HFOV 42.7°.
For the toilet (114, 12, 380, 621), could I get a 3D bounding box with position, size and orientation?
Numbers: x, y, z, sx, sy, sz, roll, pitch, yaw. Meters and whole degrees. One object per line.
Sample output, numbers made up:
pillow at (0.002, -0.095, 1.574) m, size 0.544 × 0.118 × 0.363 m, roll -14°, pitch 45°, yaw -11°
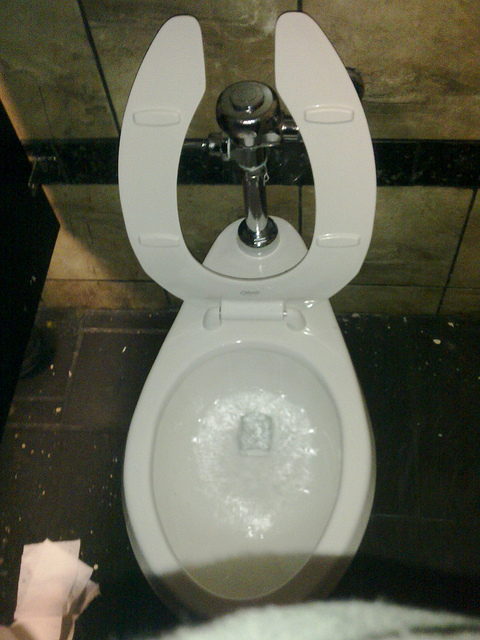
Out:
toilet at (0.011, 0.053, 0.869) m, size 0.390 × 0.536 × 0.556 m, roll 5°, pitch 57°, yaw 8°
